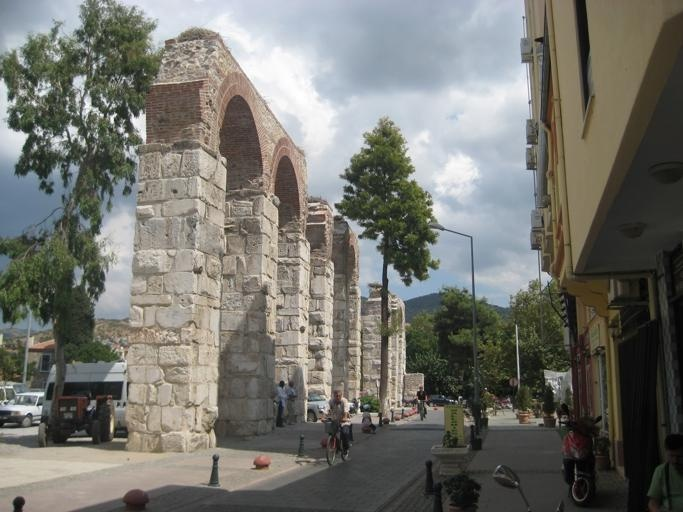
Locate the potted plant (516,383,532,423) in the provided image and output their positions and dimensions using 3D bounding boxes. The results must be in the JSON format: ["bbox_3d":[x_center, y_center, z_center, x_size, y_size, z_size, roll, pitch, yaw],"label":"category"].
[{"bbox_3d":[10.136,8.196,38.926,0.860,2.128,0.843,3,-6,-7],"label":"potted plant"}]

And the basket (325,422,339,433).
[{"bbox_3d":[-0.258,4.327,17.651,0.198,0.295,0.388,-1,-7,11],"label":"basket"}]

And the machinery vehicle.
[{"bbox_3d":[-7.329,4.674,19.706,1.077,1.503,2.327,0,-9,3],"label":"machinery vehicle"}]

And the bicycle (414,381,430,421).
[{"bbox_3d":[4.338,7.923,37.541,1.027,1.389,2.147,0,-5,6],"label":"bicycle"}]

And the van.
[{"bbox_3d":[-7.863,4.474,24.469,2.711,2.944,2.529,-4,-8,26],"label":"van"}]

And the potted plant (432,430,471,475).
[{"bbox_3d":[2.548,4.614,16.280,0.742,0.993,0.587,-5,-15,18],"label":"potted plant"}]

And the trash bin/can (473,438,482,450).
[{"bbox_3d":[4.242,5.904,21.896,0.287,0.302,0.157,1,0,3],"label":"trash bin/can"}]
